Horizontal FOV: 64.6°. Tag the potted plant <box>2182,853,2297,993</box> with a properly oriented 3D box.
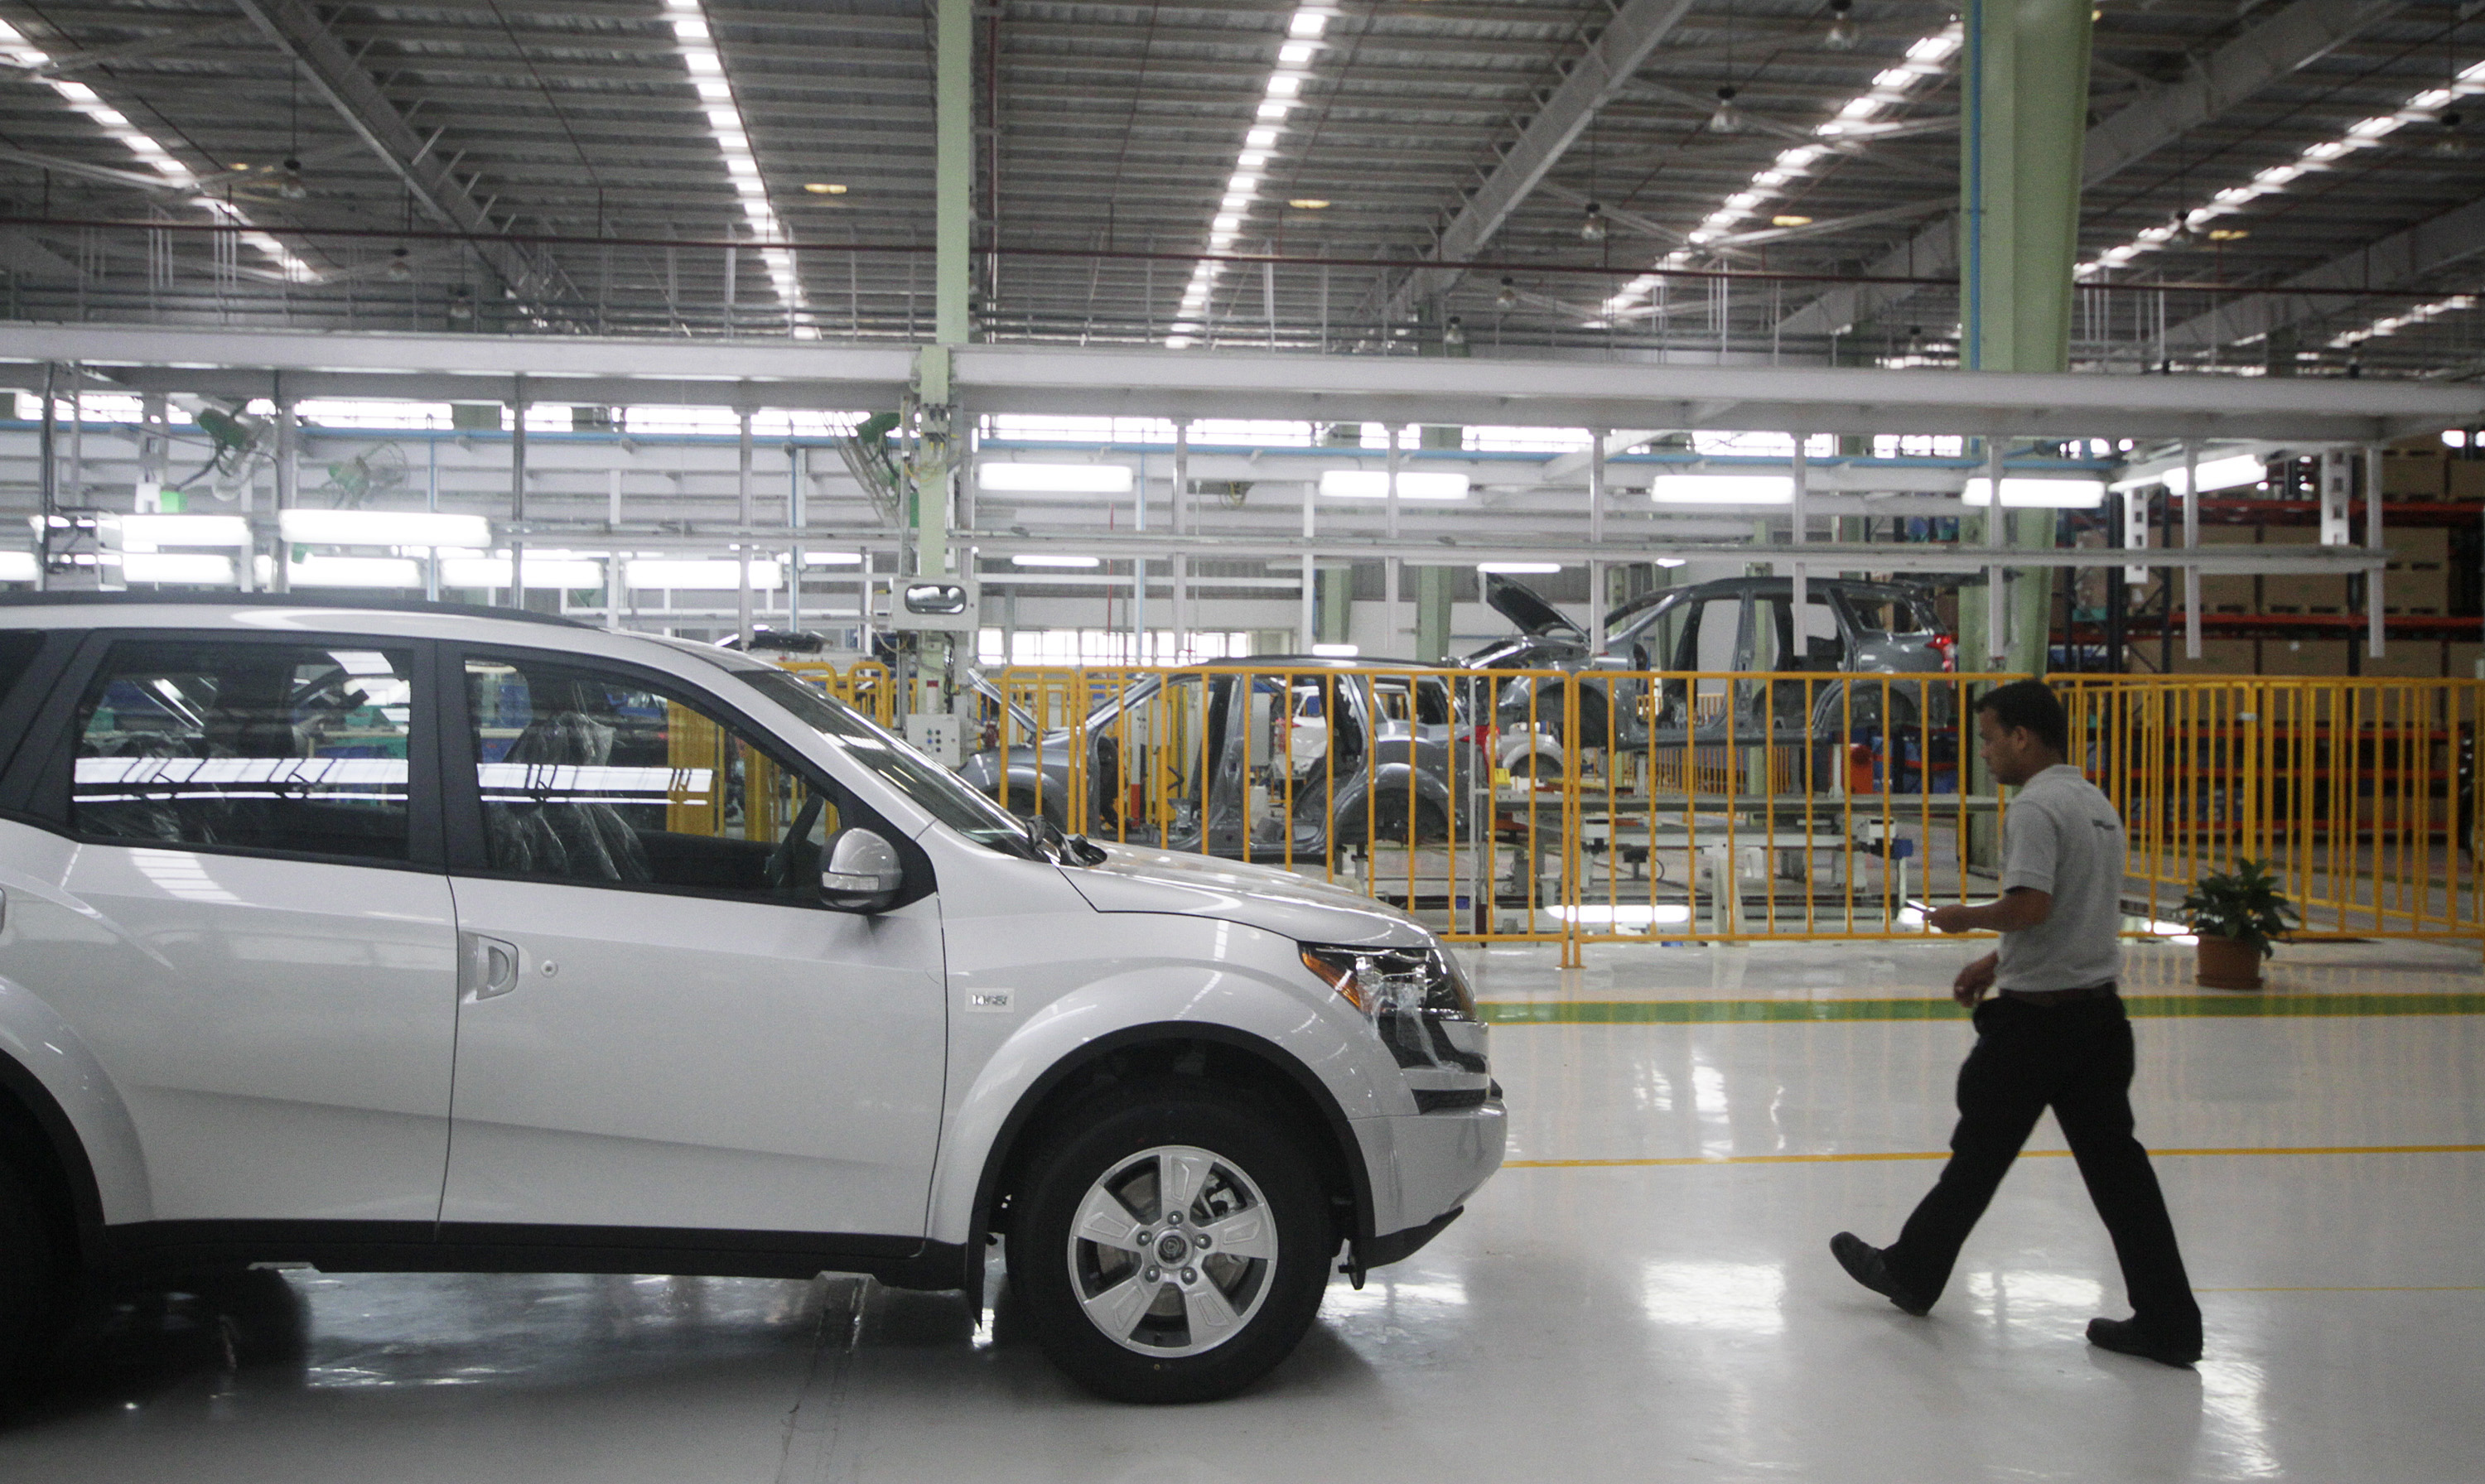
[{"bbox_3d":[8.346,1.550,16.474,0.843,0.926,0.902,13,6,32],"label":"potted plant"}]
